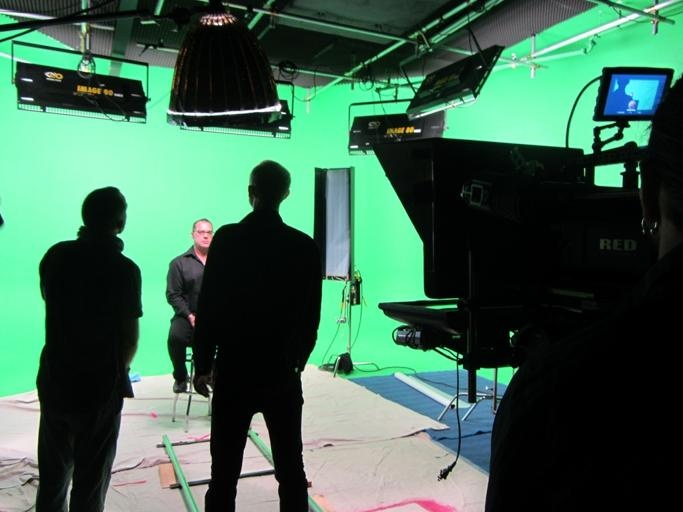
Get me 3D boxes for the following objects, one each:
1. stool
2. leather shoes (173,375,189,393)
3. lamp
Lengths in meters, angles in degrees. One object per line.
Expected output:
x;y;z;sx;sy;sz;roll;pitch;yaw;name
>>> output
-1.236;1.156;5.586;0.246;0.544;0.266;6;-2;3;stool
-1.384;1.126;5.509;0.085;0.104;0.238;1;-12;-8;leather shoes
-0.539;-0.860;2.982;0.467;0.497;0.470;-8;8;-27;lamp
